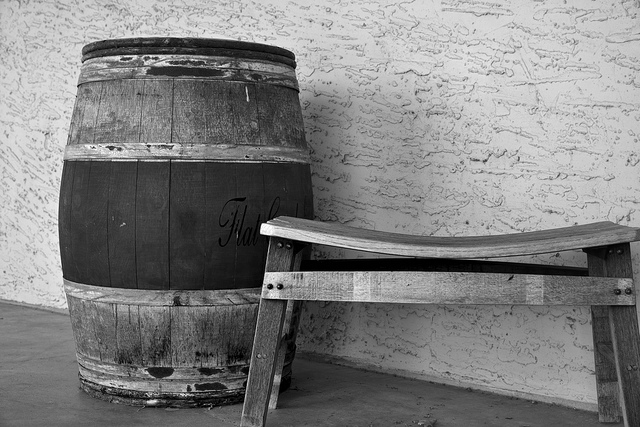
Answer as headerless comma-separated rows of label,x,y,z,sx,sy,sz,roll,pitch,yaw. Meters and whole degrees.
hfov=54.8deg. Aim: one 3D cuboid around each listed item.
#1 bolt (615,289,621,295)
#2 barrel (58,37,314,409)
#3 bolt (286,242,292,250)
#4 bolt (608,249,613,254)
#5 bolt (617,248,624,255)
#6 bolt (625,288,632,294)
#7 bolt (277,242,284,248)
bolt,0.860,0.225,1.783,0.017,0.015,0.004,-1,9,-18
barrel,-0.484,0.031,2.154,0.878,1.234,0.368,2,9,5
bolt,-0.093,0.100,1.840,0.014,0.013,0.014,0,-2,32
bolt,0.844,0.110,1.794,0.014,0.012,0.009,0,2,-4
bolt,0.871,0.109,1.793,0.017,0.015,0.017,-1,-3,18
bolt,0.889,0.224,1.782,0.015,0.013,0.002,3,9,11
bolt,-0.119,0.092,1.835,0.014,0.012,0.014,1,-5,-35
